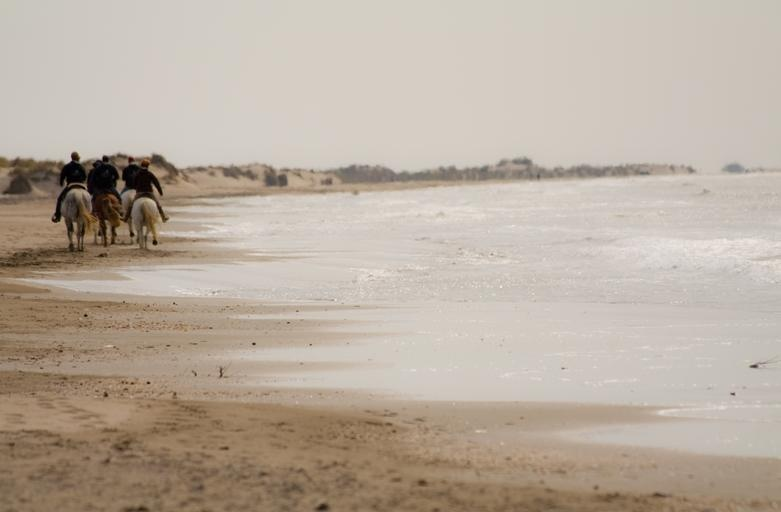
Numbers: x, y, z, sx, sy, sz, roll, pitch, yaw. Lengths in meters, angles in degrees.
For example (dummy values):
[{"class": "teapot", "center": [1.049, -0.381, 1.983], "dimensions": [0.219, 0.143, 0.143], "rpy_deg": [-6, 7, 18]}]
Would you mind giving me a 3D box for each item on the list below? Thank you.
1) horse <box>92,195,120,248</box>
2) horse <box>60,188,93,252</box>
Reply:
[{"class": "horse", "center": [-9.482, -1.409, 32.214], "dimensions": [0.910, 1.861, 3.211], "rpy_deg": [-2, 4, -19]}, {"class": "horse", "center": [-9.619, -1.154, 29.623], "dimensions": [0.959, 1.998, 1.332], "rpy_deg": [-3, 5, -18]}]
